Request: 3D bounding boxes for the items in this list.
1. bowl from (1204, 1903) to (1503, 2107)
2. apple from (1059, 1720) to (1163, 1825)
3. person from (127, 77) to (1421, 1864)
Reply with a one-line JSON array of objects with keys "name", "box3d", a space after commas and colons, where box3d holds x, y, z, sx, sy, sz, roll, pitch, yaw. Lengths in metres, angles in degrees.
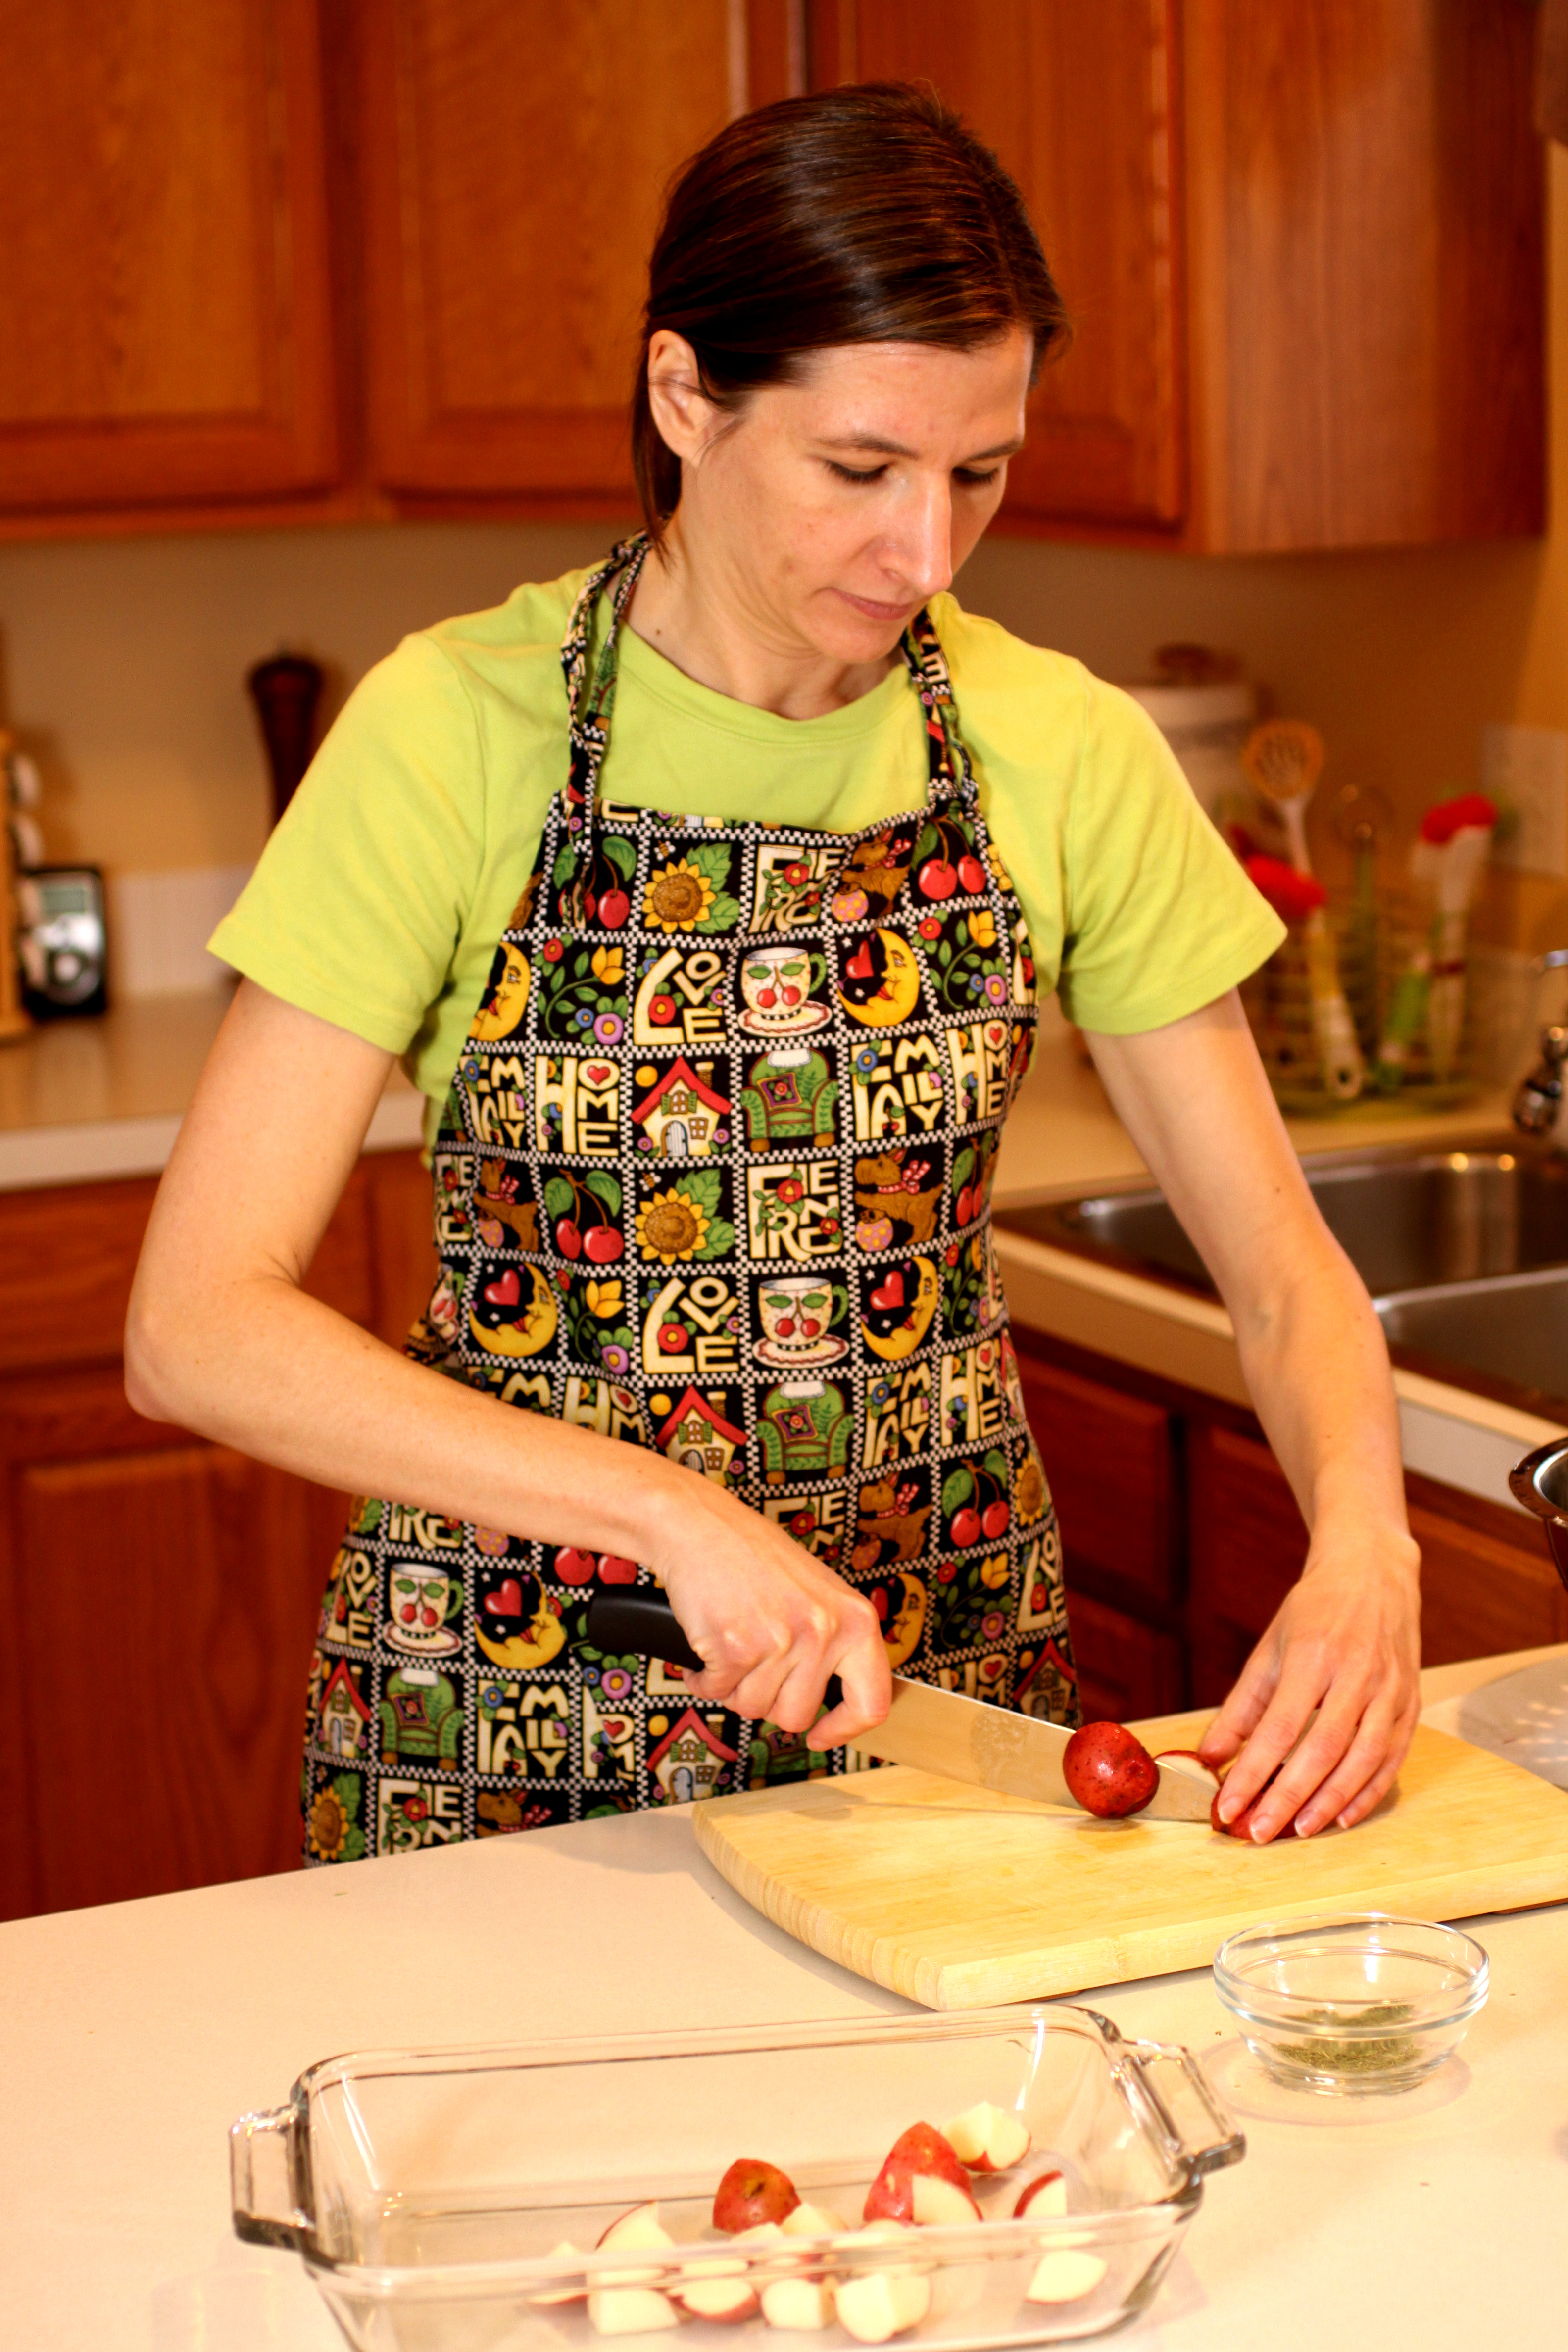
[{"name": "bowl", "box3d": [0.193, 0.286, 0.695, 0.107, 0.041, 0.103, -3, -14, -1]}, {"name": "apple", "box3d": [0.139, 0.251, 0.840, 0.033, 0.043, 0.034, 10, 60, 31]}, {"name": "person", "box3d": [0.010, -0.068, 0.985, 0.655, 0.887, 0.401, -4, 0, -19]}]
